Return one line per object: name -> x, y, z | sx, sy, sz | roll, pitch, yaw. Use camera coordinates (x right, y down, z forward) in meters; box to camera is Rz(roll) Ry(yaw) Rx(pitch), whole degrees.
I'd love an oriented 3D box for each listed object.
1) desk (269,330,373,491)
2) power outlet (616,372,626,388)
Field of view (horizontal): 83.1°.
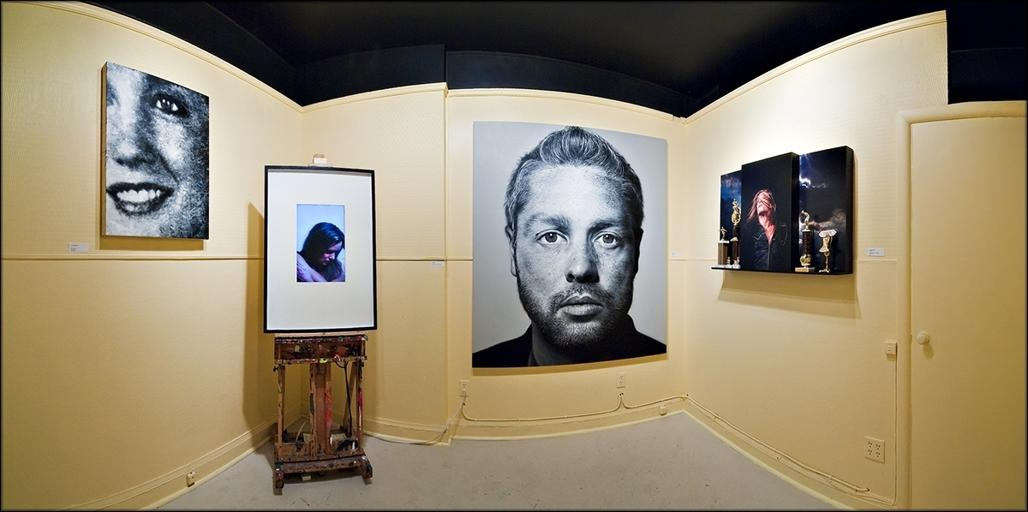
desk -> -2.236, 1.698, 6.706 | 1.064, 1.689, 1.078 | -2, 2, -18
power outlet -> 1.320, 1.530, 7.099 | 0.120, 0.163, 0.026 | -2, 2, -24
